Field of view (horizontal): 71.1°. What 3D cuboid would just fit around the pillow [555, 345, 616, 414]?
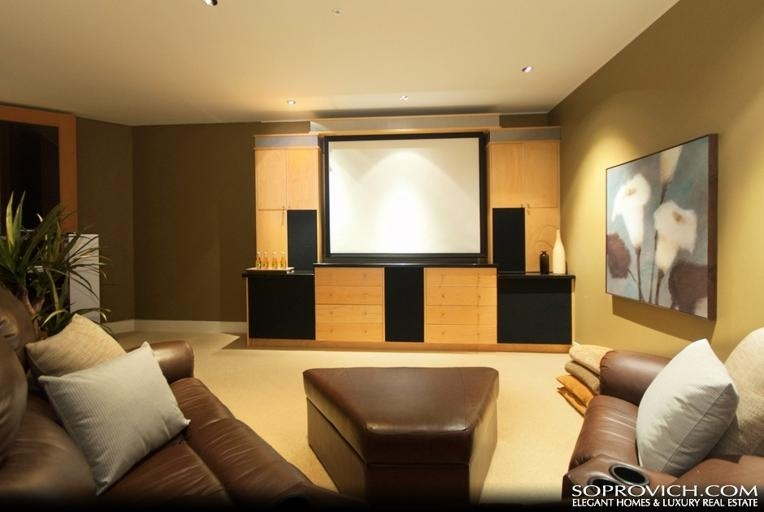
[{"bbox_3d":[1.826,1.095,4.960,0.618,0.271,0.602,-10,8,-37],"label":"pillow"}]

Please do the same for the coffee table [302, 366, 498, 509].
[{"bbox_3d":[0.119,1.171,4.641,1.538,0.746,2.052,1,24,-11],"label":"coffee table"}]

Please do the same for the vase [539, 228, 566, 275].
[{"bbox_3d":[2.038,-0.061,6.354,0.311,0.531,0.443,1,4,10],"label":"vase"}]
